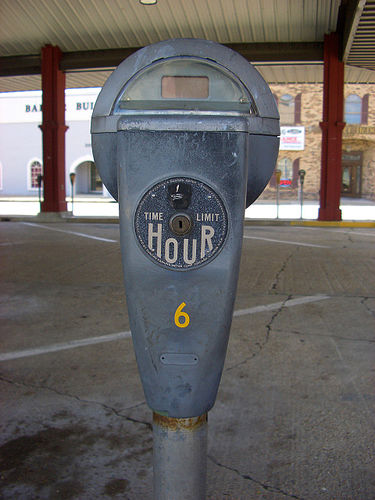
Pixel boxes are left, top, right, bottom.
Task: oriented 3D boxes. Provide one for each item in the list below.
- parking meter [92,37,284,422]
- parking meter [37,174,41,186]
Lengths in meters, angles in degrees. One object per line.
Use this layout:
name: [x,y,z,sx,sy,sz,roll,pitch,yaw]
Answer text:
parking meter: [-0.038,-0.088,1.293,0.530,0.970,0.495,1,8,9]
parking meter: [-4.416,-2.120,15.124,0.069,0.244,0.515,-3,8,-17]
